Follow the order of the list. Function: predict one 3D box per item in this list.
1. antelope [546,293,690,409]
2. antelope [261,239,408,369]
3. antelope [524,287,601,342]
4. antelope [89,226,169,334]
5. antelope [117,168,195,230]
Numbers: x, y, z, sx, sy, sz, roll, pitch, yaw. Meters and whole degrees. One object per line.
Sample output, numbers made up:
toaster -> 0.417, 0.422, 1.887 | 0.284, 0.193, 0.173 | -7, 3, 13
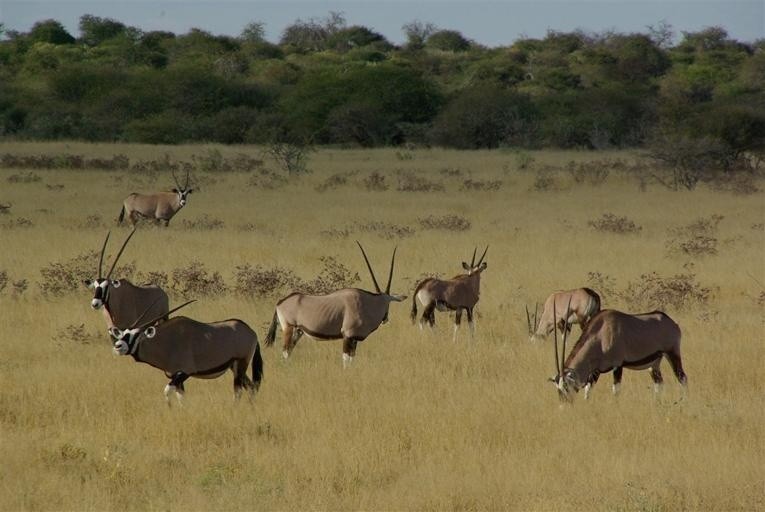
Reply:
antelope -> 6.139, 2.669, 33.301 | 3.695, 2.699, 1.078 | -7, 9, -20
antelope -> -1.304, 1.595, 34.604 | 3.804, 3.830, 1.188 | 1, 6, 1
antelope -> 4.869, 1.793, 34.809 | 0.672, 1.423, 2.331 | -3, -12, -41
antelope -> -6.733, 1.244, 34.005 | 1.367, 3.756, 2.579 | 2, -6, 14
antelope -> -7.499, -1.638, 42.265 | 2.263, 2.524, 0.782 | 3, 8, 3
